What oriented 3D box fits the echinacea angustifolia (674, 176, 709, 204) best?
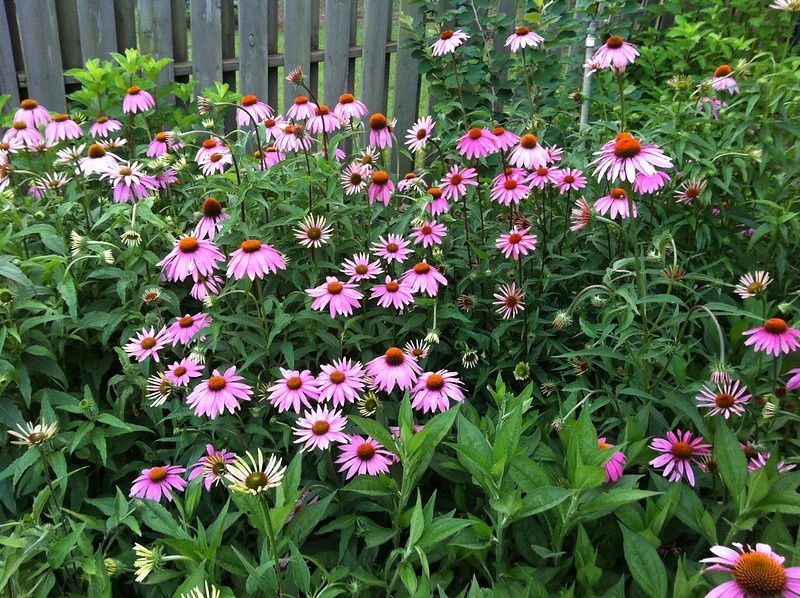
[{"bbox_3d":[1.290,-0.469,3.049,0.076,0.144,0.155,-13,26,-28],"label":"echinacea angustifolia"}]
